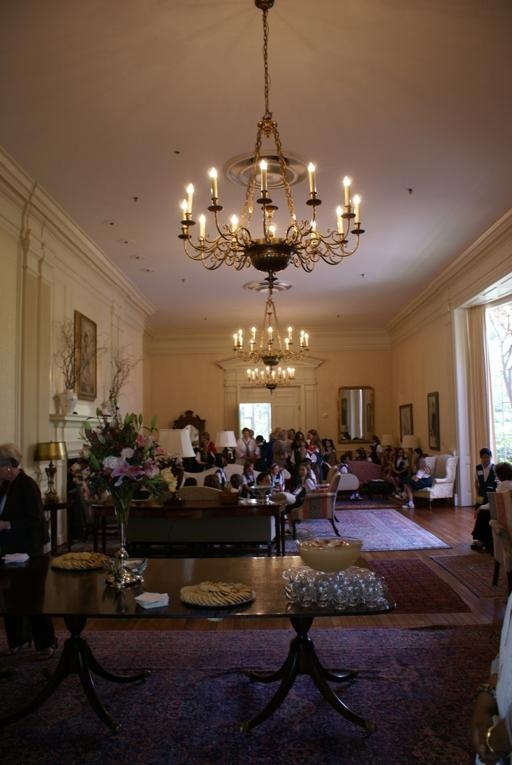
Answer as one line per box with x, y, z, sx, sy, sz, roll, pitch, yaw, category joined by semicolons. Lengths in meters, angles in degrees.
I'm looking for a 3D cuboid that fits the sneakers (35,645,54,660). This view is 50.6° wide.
-1.332;1.698;3.412;0.060;0.050;0.160;0;-15;-5;sneakers

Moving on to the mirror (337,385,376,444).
2.729;0.947;14.888;1.449;2.211;0.084;1;-8;-6;mirror

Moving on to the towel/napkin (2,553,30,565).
-1.270;0.933;2.859;0.126;0.038;0.177;3;-9;-24;towel/napkin

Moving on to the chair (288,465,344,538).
0.866;1.709;7.948;0.912;1.255;0.946;-1;-9;4;chair

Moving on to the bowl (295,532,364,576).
0.305;0.723;2.233;0.255;0.149;0.301;-2;-8;4;bowl

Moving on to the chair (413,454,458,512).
3.567;1.924;10.728;0.874;1.376;1.053;1;-6;-3;chair

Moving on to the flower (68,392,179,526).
-0.610;0.394;2.571;0.400;0.560;0.398;1;-8;-11;flower
